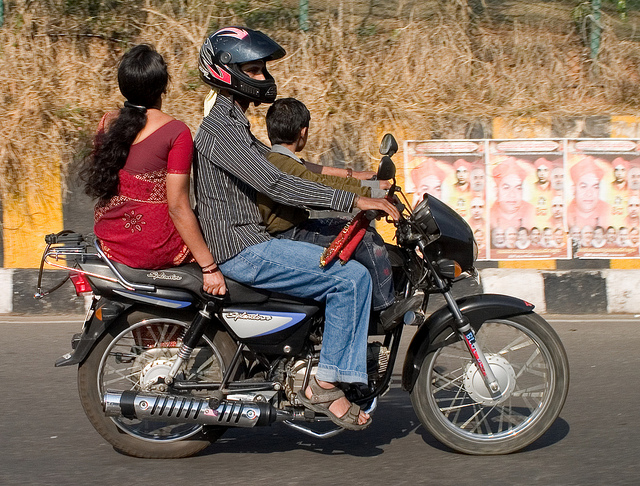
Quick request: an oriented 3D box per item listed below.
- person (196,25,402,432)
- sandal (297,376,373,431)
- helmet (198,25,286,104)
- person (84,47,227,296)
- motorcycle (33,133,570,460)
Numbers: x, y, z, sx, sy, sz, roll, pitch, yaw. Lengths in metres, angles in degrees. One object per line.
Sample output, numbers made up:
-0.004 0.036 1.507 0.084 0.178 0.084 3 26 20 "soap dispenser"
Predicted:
-0.214 -0.095 3.811 1.185 2.336 0.536 9 18 31 "person"
0.087 0.929 3.877 0.583 0.183 0.224 17 4 1 "sandal"
-0.484 -1.098 3.950 0.597 0.322 0.373 16 25 4 "helmet"
-0.948 -0.421 3.770 0.824 1.416 0.450 0 15 2 "person"
-0.023 0.497 4.022 3.336 1.220 1.154 2 -15 -8 "motorcycle"
